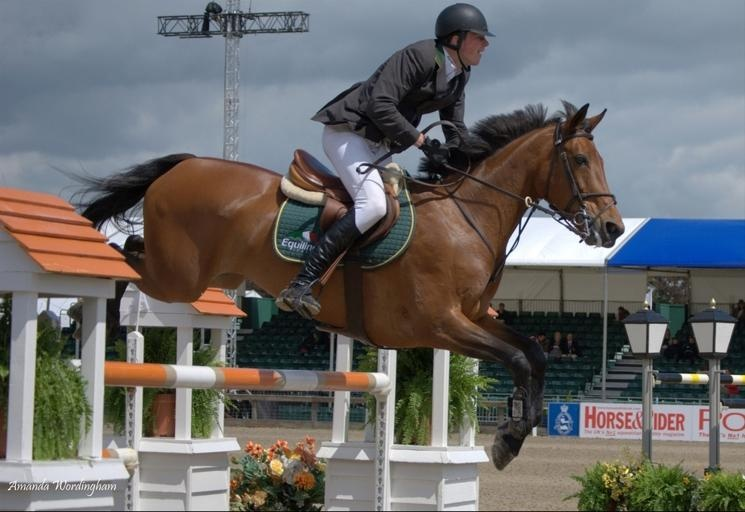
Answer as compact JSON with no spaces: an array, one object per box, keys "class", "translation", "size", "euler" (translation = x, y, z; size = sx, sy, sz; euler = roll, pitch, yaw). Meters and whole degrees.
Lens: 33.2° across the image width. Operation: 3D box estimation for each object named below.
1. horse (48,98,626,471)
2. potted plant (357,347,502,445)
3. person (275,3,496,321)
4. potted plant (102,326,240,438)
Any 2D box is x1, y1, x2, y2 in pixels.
[{"class":"horse","translation":[-0.354,-0.097,9.935],"size":[4.424,2.804,0.968],"euler":[7,21,11]},{"class":"potted plant","translation":[0.464,1.222,11.064],"size":[0.886,0.892,0.893],"euler":[1,-7,2]},{"class":"person","translation":[0.127,-0.724,9.522],"size":[1.511,2.367,0.558],"euler":[-1,-7,4]},{"class":"potted plant","translation":[-1.874,1.146,11.136],"size":[1.520,1.479,0.804],"euler":[1,-8,-12]}]
